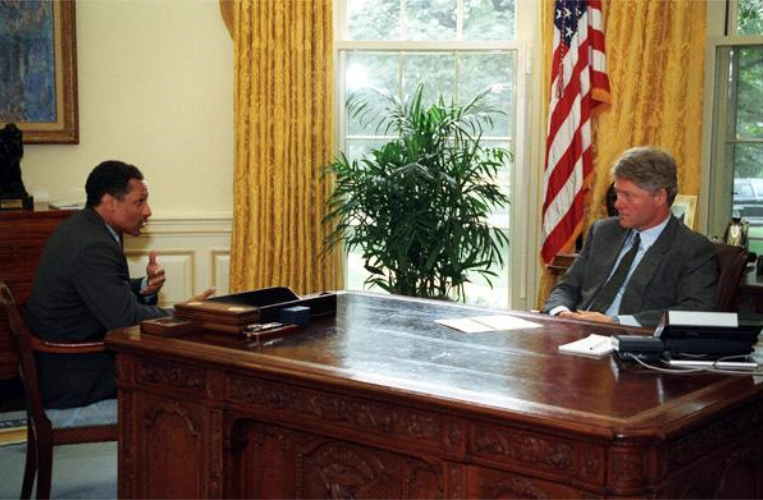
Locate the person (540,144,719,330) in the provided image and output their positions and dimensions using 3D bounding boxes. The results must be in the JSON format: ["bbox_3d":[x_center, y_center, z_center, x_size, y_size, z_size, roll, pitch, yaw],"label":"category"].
[{"bbox_3d":[1.370,0.051,3.568,0.796,1.184,0.918,-6,10,-37],"label":"person"}]
